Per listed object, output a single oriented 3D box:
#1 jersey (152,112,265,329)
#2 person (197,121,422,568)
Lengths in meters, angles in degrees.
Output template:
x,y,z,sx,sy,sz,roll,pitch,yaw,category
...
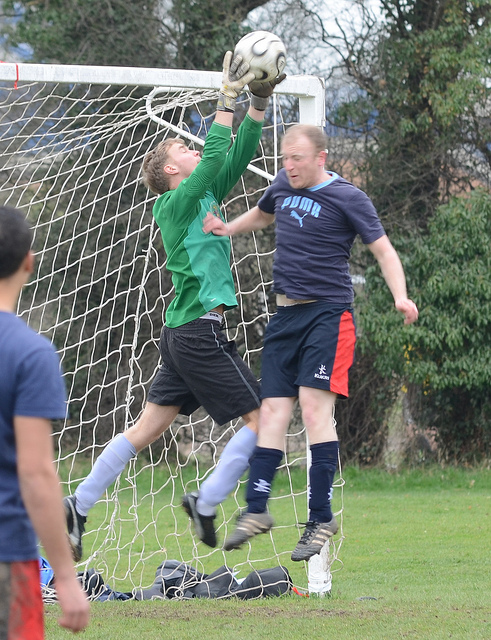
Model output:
x,y,z,sx,sy,sz,roll,pitch,yaw,category
-0.158,-0.495,4.412,0.680,1.005,0.497,-5,10,38,jersey
0.309,0.083,4.240,0.788,1.944,0.655,1,-2,-1,person
